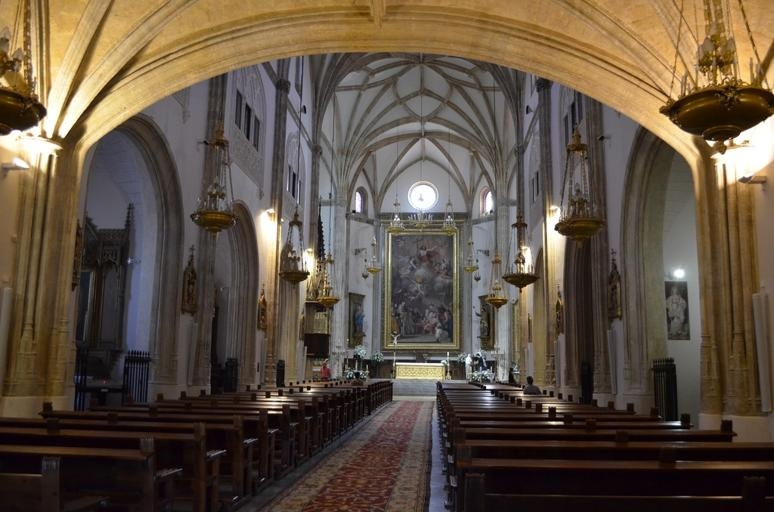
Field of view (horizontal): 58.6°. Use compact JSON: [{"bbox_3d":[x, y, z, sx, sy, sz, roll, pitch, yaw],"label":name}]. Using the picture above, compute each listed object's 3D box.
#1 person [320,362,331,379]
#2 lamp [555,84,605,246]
[{"bbox_3d":[-2.918,5.293,31.828,0.571,1.154,0.460,-1,-36,-3],"label":"person"},{"bbox_3d":[4.400,-2.168,16.042,1.579,3.528,1.573,-2,0,11],"label":"lamp"}]
